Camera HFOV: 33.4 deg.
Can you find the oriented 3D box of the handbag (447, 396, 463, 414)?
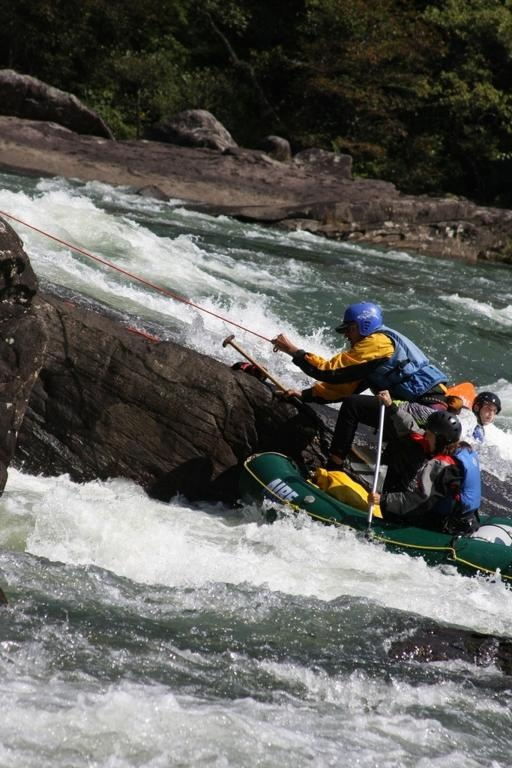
[{"bbox_3d":[1.489,0.158,6.426,0.081,0.100,0.097,-20,31,36],"label":"handbag"}]

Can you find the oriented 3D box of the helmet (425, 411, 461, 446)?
[{"bbox_3d":[1.194,0.276,5.433,0.191,0.185,0.239,7,-12,-29],"label":"helmet"}]

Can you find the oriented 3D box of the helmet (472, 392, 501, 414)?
[{"bbox_3d":[1.767,0.140,6.543,0.156,0.181,0.172,7,39,9],"label":"helmet"}]

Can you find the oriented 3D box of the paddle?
[{"bbox_3d":[0.344,0.198,6.682,1.608,0.291,0.221,41,-15,-3],"label":"paddle"}]

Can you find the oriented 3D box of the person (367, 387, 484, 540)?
[{"bbox_3d":[1.108,0.563,5.673,0.754,0.783,0.650,0,19,-9],"label":"person"}]

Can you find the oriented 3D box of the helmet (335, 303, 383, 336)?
[{"bbox_3d":[0.771,-0.488,6.389,0.362,0.190,0.222,-3,6,2],"label":"helmet"}]
